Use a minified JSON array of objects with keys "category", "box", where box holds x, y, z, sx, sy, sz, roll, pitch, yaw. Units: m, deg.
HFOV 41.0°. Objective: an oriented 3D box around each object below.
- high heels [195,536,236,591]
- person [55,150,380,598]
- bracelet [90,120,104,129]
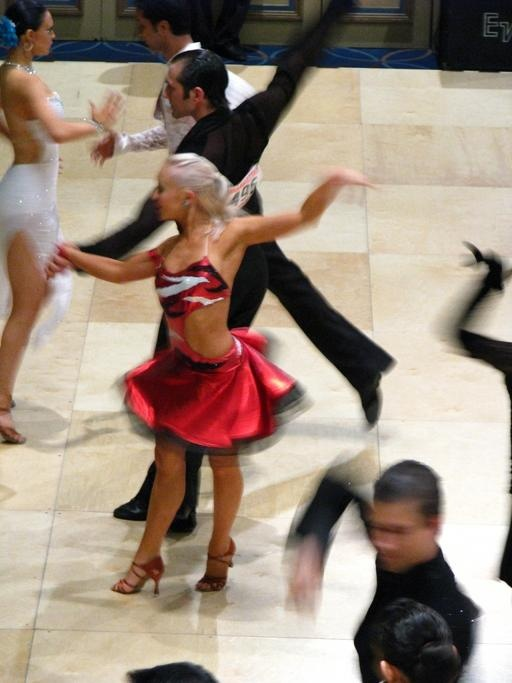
[{"category":"high heels","box":[-0.099,0.645,2.050,0.084,0.077,0.199,5,35,22]},{"category":"person","box":[-0.191,0.120,1.908,0.610,1.290,0.774,3,42,-19]},{"category":"bracelet","box":[-0.619,-0.838,2.653,0.048,0.027,0.035,32,1,9]}]
